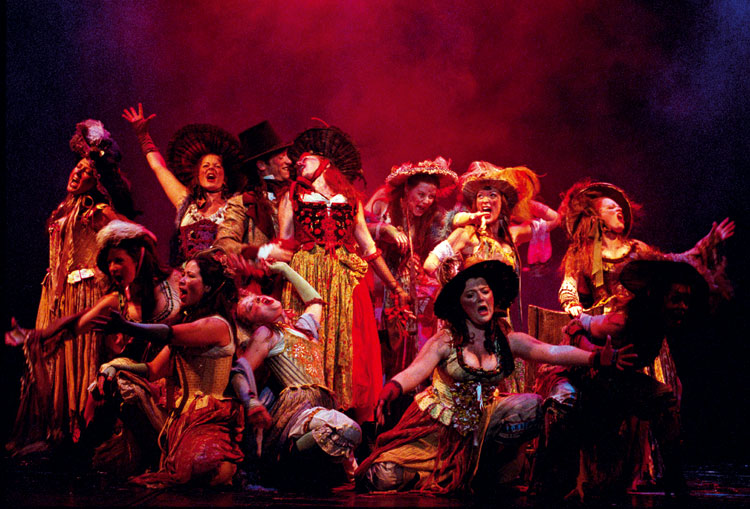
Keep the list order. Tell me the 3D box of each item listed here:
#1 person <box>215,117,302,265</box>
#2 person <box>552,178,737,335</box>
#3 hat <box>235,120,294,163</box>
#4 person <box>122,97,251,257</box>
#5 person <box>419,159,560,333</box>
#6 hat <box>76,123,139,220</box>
[{"bbox_3d":[-0.998,-0.563,5.954,0.744,0.491,1.159,4,-49,-18],"label":"person"},{"bbox_3d":[2.184,0.045,5.617,1.424,1.554,0.668,3,-59,0],"label":"person"},{"bbox_3d":[-1.005,-0.958,6.028,0.405,0.212,0.364,-24,5,35],"label":"hat"},{"bbox_3d":[-1.624,-0.594,5.840,1.338,1.652,0.459,-2,-20,-20],"label":"person"},{"bbox_3d":[0.992,-0.024,5.913,1.268,1.551,0.655,5,-20,-6],"label":"person"},{"bbox_3d":[-2.244,-0.711,5.830,0.295,0.740,0.554,-25,-9,-23],"label":"hat"}]
